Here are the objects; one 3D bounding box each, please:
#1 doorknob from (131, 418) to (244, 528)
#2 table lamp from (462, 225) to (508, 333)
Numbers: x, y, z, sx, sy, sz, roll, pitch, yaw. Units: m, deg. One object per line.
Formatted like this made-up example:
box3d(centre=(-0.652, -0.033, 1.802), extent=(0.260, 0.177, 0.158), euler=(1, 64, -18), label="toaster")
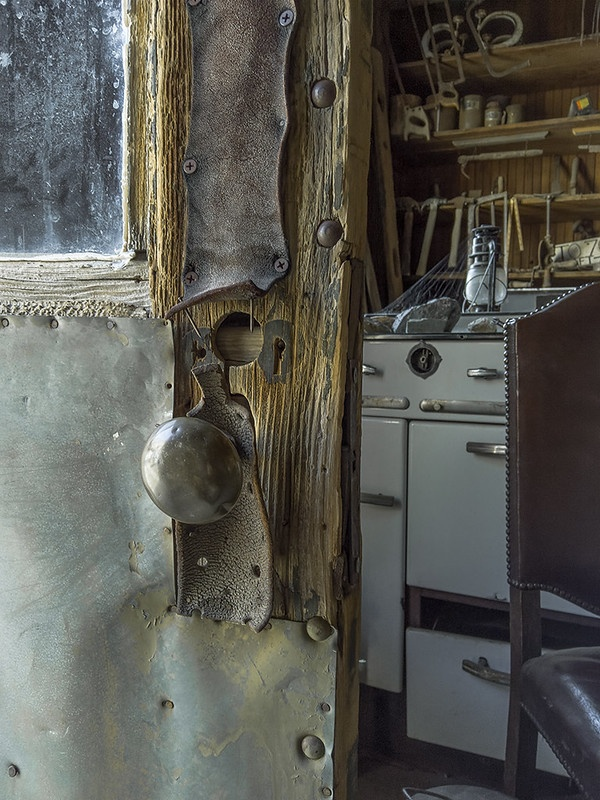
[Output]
box3d(centre=(-0.074, 0.040, 0.473), extent=(0.055, 0.073, 0.035), euler=(-19, 0, 20), label="doorknob")
box3d(centre=(0.391, -0.254, 1.552), extent=(0.065, 0.232, 0.116), euler=(0, 6, -7), label="table lamp")
